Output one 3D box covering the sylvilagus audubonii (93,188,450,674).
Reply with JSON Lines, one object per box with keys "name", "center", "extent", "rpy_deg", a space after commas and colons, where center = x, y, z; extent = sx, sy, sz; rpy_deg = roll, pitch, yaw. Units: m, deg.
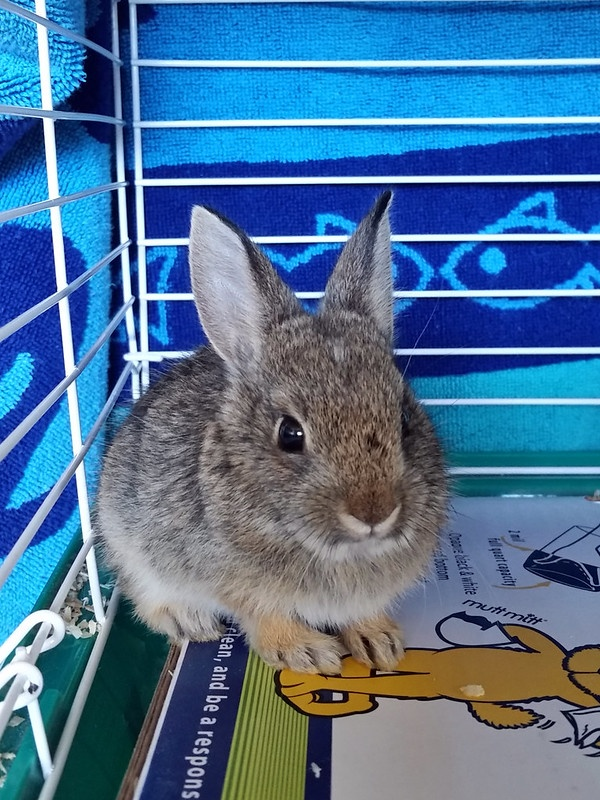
{"name": "sylvilagus audubonii", "center": [-0.056, 0.051, 1.321], "extent": [0.591, 0.801, 0.859], "rpy_deg": [-4, 14, -26]}
